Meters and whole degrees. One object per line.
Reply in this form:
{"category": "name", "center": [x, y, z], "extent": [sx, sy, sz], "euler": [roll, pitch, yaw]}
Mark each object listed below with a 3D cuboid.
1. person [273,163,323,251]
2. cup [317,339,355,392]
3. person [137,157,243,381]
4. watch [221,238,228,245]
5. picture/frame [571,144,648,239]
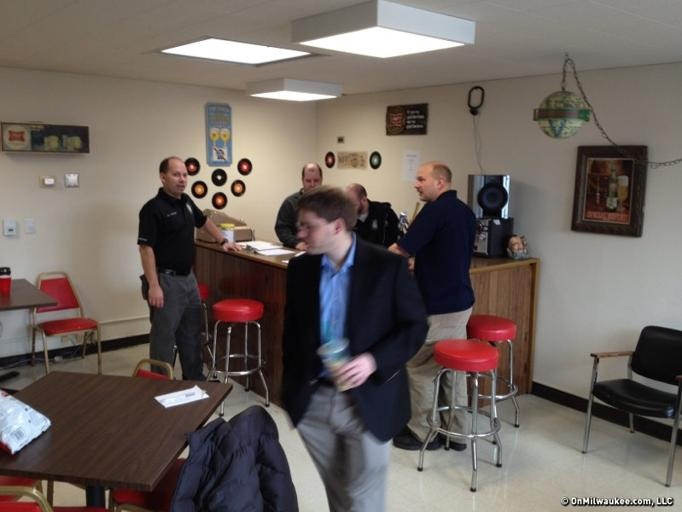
{"category": "person", "center": [-0.330, -0.487, 5.298], "extent": [0.610, 0.897, 0.589], "euler": [0, 8, -24]}
{"category": "cup", "center": [-0.018, 0.455, 2.189], "extent": [0.135, 0.215, 0.137], "euler": [-27, 14, 8]}
{"category": "person", "center": [-1.472, 0.172, 4.493], "extent": [0.243, 2.010, 0.513], "euler": [8, 15, 31]}
{"category": "watch", "center": [-1.123, -0.136, 4.948], "extent": [0.053, 0.032, 0.068], "euler": [-3, 19, 31]}
{"category": "picture/frame", "center": [2.278, -0.548, 4.324], "extent": [0.091, 0.969, 0.679], "euler": [-3, 9, -45]}
